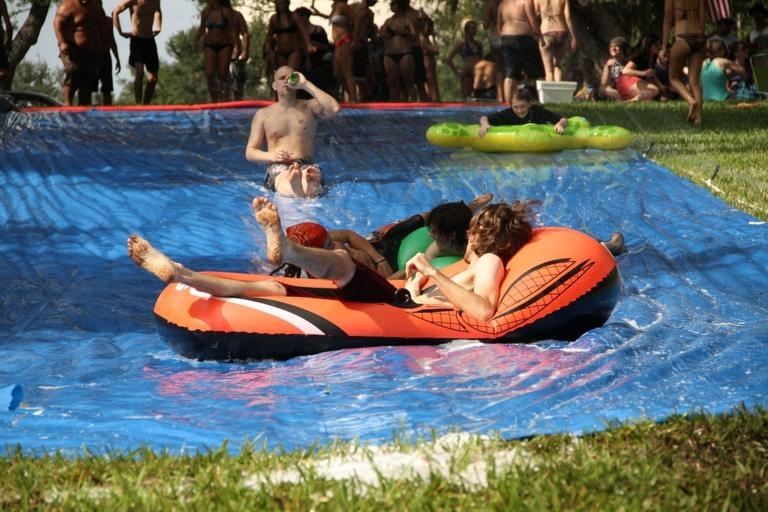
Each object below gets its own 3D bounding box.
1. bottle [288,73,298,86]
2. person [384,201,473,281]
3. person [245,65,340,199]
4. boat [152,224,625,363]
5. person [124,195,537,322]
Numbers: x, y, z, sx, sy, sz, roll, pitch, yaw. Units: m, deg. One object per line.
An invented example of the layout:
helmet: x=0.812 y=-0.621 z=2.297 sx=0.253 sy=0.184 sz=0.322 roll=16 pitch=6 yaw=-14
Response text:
bottle: x=-0.975 y=-1.926 z=10.395 sx=0.090 sy=0.132 sz=0.183 roll=-4 pitch=7 yaw=-17
person: x=0.410 y=-0.186 z=8.930 sx=0.854 sy=0.289 sz=0.656 roll=-28 pitch=13 yaw=21
person: x=-1.014 y=-1.377 z=10.637 sx=1.000 sy=1.437 sz=0.589 roll=-3 pitch=7 yaw=-8
boat: x=0.102 y=0.329 z=8.231 sx=3.083 sy=0.699 sz=1.444 roll=-1 pitch=3 yaw=-4
person: x=-0.419 y=0.059 z=7.980 sx=3.060 sy=0.914 sz=1.331 roll=5 pitch=2 yaw=-8
